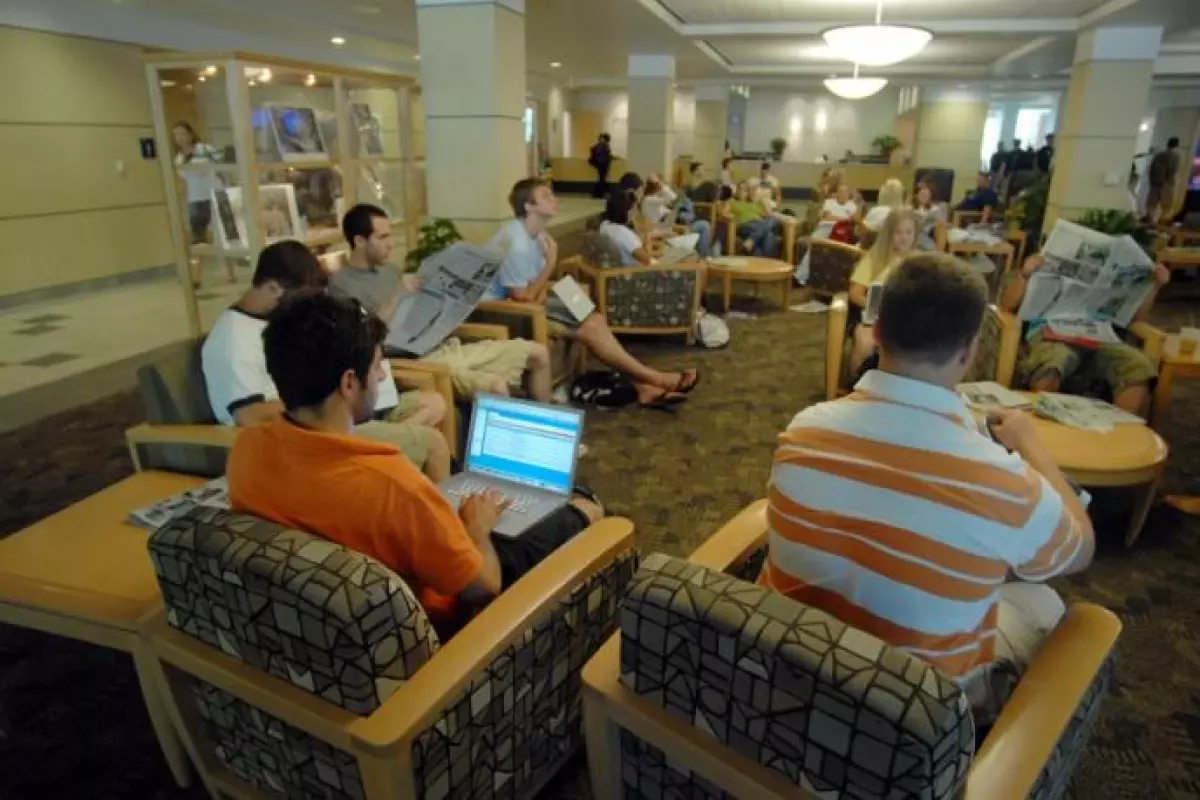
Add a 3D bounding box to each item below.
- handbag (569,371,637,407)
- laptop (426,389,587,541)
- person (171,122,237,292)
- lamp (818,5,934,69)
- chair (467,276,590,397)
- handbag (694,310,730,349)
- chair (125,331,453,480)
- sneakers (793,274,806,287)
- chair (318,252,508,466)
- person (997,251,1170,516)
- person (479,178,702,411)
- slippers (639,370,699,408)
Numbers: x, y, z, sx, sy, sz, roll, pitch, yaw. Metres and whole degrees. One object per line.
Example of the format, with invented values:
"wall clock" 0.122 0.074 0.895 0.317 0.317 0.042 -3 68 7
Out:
"handbag" 0.019 -0.066 5.231 0.252 0.152 0.350 7 11 23
"laptop" -0.341 0.246 3.169 0.571 0.358 0.540 15 30 25
"person" -3.070 -1.523 5.999 0.385 1.151 0.373 -17 45 -24
"lamp" 2.352 -3.081 6.686 0.814 0.287 0.776 2 21 4
"chair" -0.362 -0.455 5.220 0.735 0.744 0.722 19 33 29
"handbag" 0.934 -0.559 6.426 0.292 0.136 0.244 37 35 30
"chair" -1.182 0.037 3.002 0.599 0.549 0.623 0 22 0
"sneakers" 2.319 -1.381 9.006 0.144 0.170 0.124 1 25 8
"chair" -0.840 -0.183 3.549 0.812 1.045 0.789 14 23 30
"person" 2.751 -0.138 4.418 0.871 1.209 0.967 14 27 26
"person" -0.067 -0.679 5.112 1.592 1.256 0.569 17 25 5
"slippers" 0.465 -0.052 5.155 0.367 0.210 0.101 -16 -9 39
